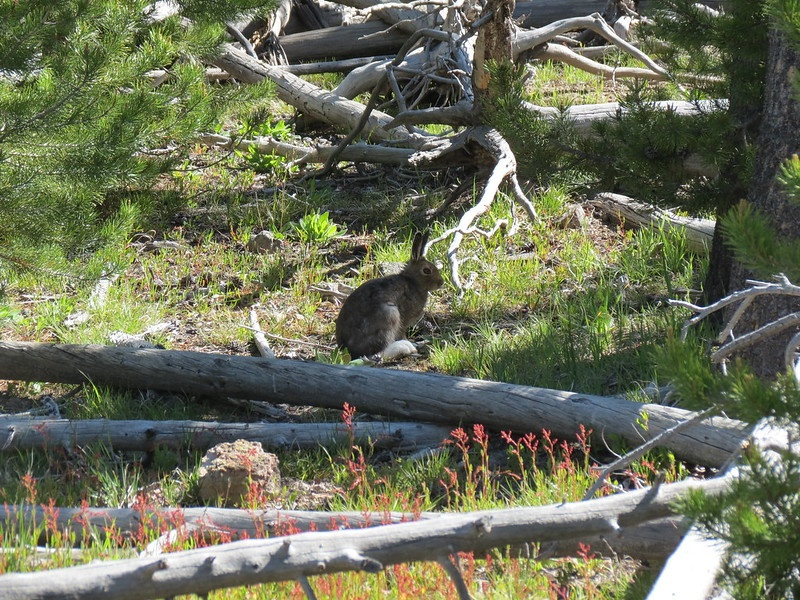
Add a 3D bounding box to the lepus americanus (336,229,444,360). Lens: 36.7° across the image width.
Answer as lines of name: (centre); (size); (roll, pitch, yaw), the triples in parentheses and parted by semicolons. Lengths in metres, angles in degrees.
lepus americanus: (-0.049, -0.006, 10.165); (1.001, 1.318, 0.651); (-9, 18, -30)
